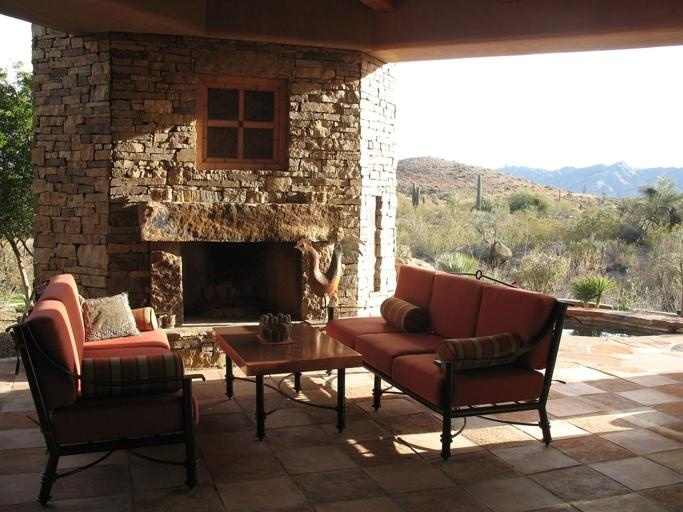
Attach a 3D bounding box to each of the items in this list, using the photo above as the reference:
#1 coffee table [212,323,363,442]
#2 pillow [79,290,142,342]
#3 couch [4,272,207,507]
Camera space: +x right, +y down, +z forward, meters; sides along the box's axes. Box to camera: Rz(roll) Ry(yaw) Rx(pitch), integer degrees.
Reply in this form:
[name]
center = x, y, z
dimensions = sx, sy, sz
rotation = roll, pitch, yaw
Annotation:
[coffee table]
center = -0.271, 1.083, 5.150
dimensions = 1.161, 0.813, 1.648
rotation = 2, 4, -23
[pillow]
center = -2.358, 0.633, 5.451
dimensions = 0.484, 0.459, 0.144
rotation = -7, -20, -36
[couch]
center = -1.620, 0.953, 4.532
dimensions = 1.496, 1.317, 2.618
rotation = 2, 4, -20
